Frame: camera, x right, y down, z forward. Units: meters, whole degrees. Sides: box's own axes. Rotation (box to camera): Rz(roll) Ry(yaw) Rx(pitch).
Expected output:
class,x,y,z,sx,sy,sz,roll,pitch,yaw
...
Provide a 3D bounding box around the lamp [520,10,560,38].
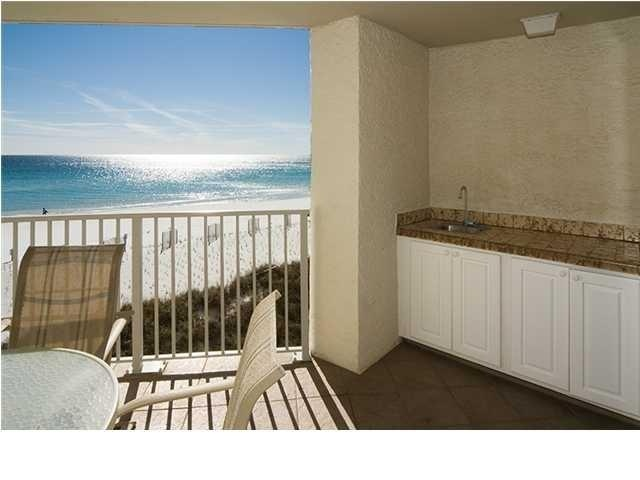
class,x,y,z,sx,sy,sz,roll,pitch,yaw
lamp,1.687,-1.643,3.579,0.261,0.129,0.251,4,13,23

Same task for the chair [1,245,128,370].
class,x,y,z,sx,sy,sz,roll,pitch,yaw
chair,-1.619,0.383,3.013,0.639,0.993,0.756,0,1,-4
